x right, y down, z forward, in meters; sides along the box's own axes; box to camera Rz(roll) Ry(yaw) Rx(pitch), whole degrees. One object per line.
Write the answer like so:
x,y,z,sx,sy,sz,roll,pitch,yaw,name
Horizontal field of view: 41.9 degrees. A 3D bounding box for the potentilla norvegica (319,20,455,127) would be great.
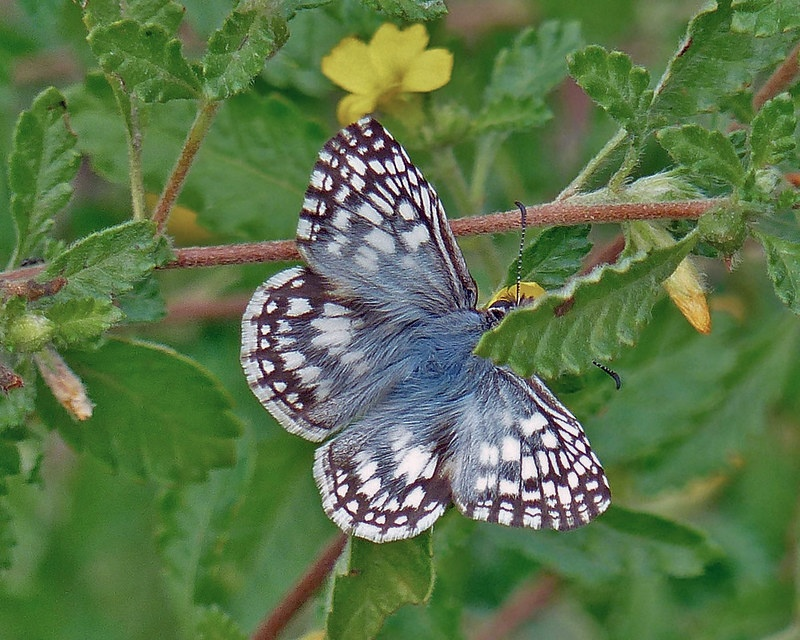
-0.042,-0.655,2.714,0.301,0.255,0.239,-25,38,-35,potentilla norvegica
